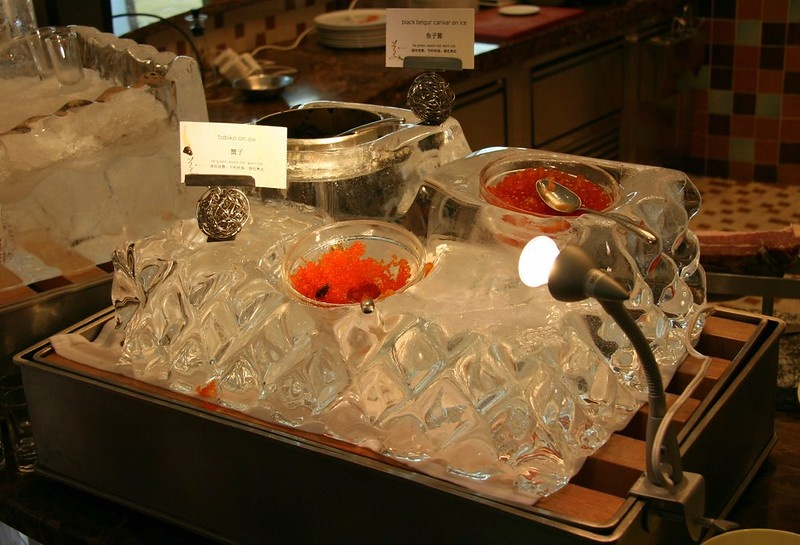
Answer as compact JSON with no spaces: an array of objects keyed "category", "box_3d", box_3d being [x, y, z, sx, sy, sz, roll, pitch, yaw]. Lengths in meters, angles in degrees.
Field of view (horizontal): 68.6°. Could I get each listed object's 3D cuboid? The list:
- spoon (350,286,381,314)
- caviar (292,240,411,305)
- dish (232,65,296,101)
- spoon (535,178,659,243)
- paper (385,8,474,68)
[{"category":"spoon","box_3d":[-0.052,0.040,0.873,0.034,0.015,0.040,-1,44,-3]},{"category":"caviar","box_3d":[-0.075,0.005,0.917,0.189,0.051,0.076,-6,27,-7]},{"category":"dish","box_3d":[-0.507,-0.740,2.283,0.217,0.069,0.419,-1,28,2]},{"category":"spoon","box_3d":[0.290,-0.088,0.864,0.153,0.036,0.025,36,-1,24]},{"category":"paper","box_3d":[0.050,-0.405,1.026,0.164,0.102,0.082,4,28,13]}]
